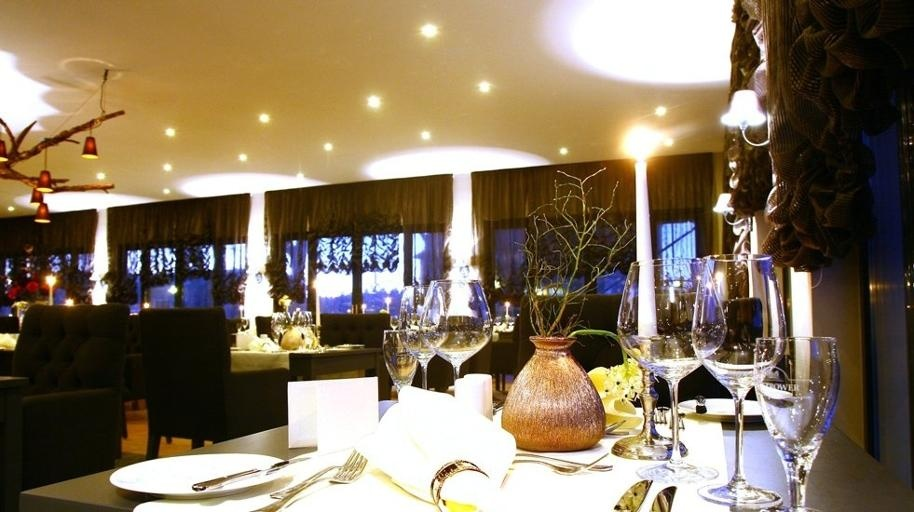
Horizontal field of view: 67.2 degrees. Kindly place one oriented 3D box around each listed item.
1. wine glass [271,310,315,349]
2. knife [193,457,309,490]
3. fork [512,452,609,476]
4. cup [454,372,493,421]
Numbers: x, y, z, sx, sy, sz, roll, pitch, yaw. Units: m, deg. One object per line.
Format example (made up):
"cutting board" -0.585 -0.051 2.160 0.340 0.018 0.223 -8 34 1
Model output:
"wine glass" -1.444 0.650 6.073 0.392 0.350 0.318 -3 -3 -11
"knife" -0.855 0.893 2.822 0.571 0.050 0.082 2 9 -32
"fork" 0.420 0.862 2.845 0.390 0.042 0.055 5 -40 13
"cup" 0.085 0.604 2.987 0.185 0.199 0.178 -1 -1 0
